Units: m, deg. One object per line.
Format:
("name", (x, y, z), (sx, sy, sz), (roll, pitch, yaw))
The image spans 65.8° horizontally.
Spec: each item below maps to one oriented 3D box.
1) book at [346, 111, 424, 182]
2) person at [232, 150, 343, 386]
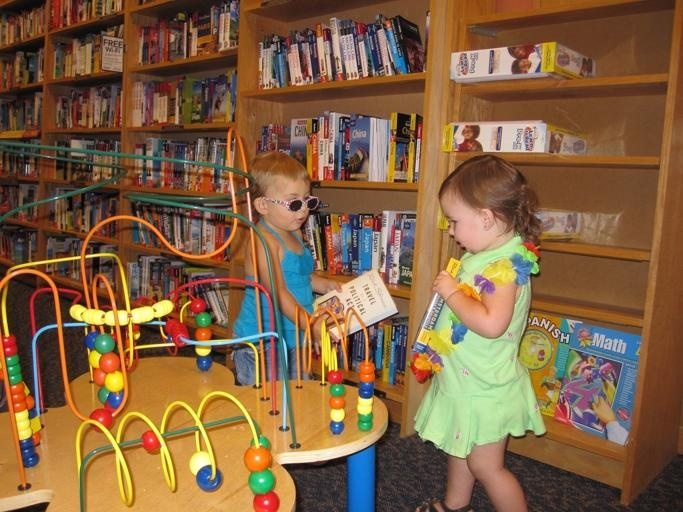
("book", (0.226, -0.545, 2.761), (0.408, 0.441, 0.322), (7, 14, 22))
("person", (-0.248, 0.145, 2.301), (0.443, 1.111, 0.392), (10, 24, 11))
